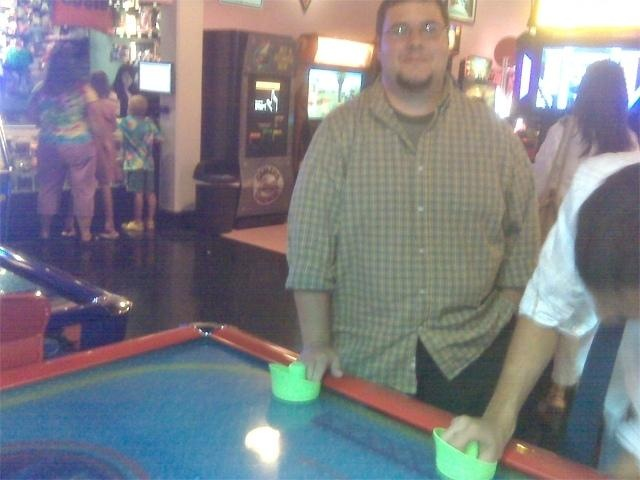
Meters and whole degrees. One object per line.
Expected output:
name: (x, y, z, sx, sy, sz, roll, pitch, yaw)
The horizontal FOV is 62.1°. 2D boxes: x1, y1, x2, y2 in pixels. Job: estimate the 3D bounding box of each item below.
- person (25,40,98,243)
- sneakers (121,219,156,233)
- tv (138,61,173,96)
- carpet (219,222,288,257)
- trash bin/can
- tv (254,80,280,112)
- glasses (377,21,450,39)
person: (-2.588, -0.970, 5.354, 0.581, 2.038, 0.541, 5, 12, 9)
sneakers: (-2.197, -0.181, 6.371, 0.296, 0.126, 0.178, 7, 12, 17)
tv: (-2.106, -2.094, 6.839, 0.557, 0.470, 0.294, 9, 15, 26)
carpet: (-0.779, -0.168, 6.339, 0.742, 0.268, 1.442, 2, 14, -5)
trash bin/can: (-1.276, -0.559, 6.634, 0.475, 0.819, 0.634, -4, 15, -28)
tv: (-0.666, -1.817, 6.736, 0.081, 0.378, 0.420, 12, 16, 36)
glasses: (0.292, -0.674, 1.705, 0.227, 0.055, 0.092, 6, 14, 11)
